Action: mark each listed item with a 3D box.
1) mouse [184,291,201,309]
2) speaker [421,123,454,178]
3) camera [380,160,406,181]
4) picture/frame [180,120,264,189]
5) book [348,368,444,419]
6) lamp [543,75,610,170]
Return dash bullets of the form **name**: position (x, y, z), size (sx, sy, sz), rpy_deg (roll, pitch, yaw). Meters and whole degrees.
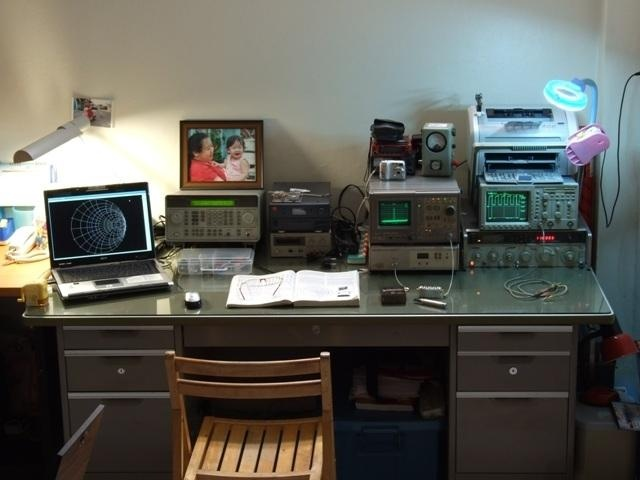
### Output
- **mouse**: position (-0.572, 0.261, 2.459), size (0.065, 0.060, 0.068), rpy_deg (-1, 7, -6)
- **speaker**: position (0.595, -0.459, 2.820), size (0.160, 0.257, 0.260), rpy_deg (0, 7, 6)
- **camera**: position (0.365, -0.356, 2.820), size (0.138, 0.105, 0.095), rpy_deg (0, 9, 5)
- **picture/frame**: position (-0.547, -0.497, 3.139), size (0.372, 0.321, 0.030), rpy_deg (1, 2, -1)
- **book**: position (0.370, 0.742, 2.687), size (0.326, 0.118, 0.214), rpy_deg (1, 17, 3)
- **lamp**: position (1.303, -0.593, 2.809), size (0.287, 0.436, 0.499), rpy_deg (2, 9, 27)
